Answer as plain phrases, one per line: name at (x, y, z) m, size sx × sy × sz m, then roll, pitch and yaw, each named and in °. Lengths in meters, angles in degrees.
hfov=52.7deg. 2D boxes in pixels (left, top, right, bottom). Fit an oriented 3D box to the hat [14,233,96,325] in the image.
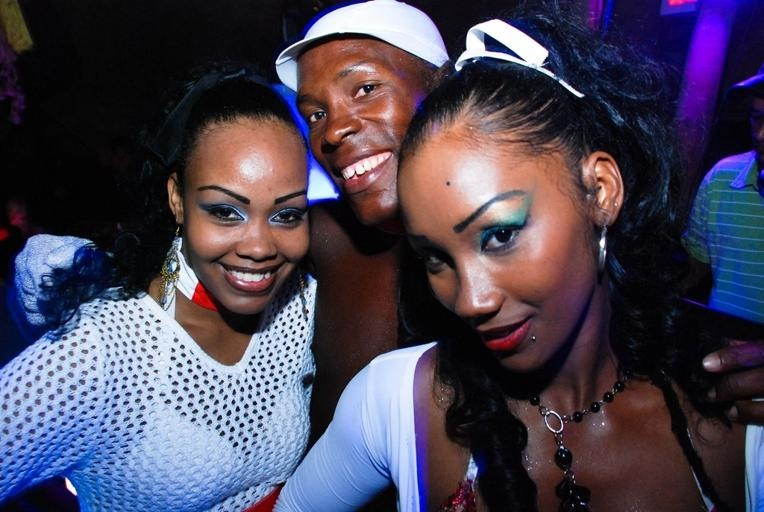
hat at (-2.032, 0.159, 4.806) m, size 0.403 × 0.537 × 0.690 m, roll -1°, pitch 12°, yaw -32°
